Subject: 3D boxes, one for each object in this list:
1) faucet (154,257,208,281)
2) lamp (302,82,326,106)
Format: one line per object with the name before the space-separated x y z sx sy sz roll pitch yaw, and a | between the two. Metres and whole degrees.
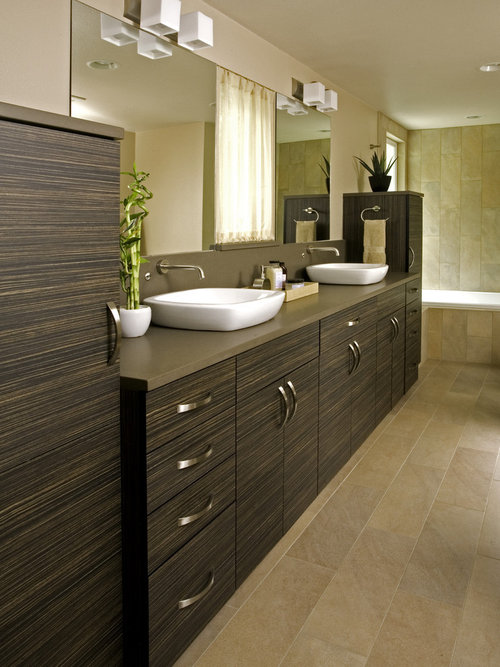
faucet | -0.273 -0.287 1.979 0.280 0.112 0.089 15 18 28
lamp | 0.433 -1.563 3.130 0.144 0.158 0.141 -4 10 -31
